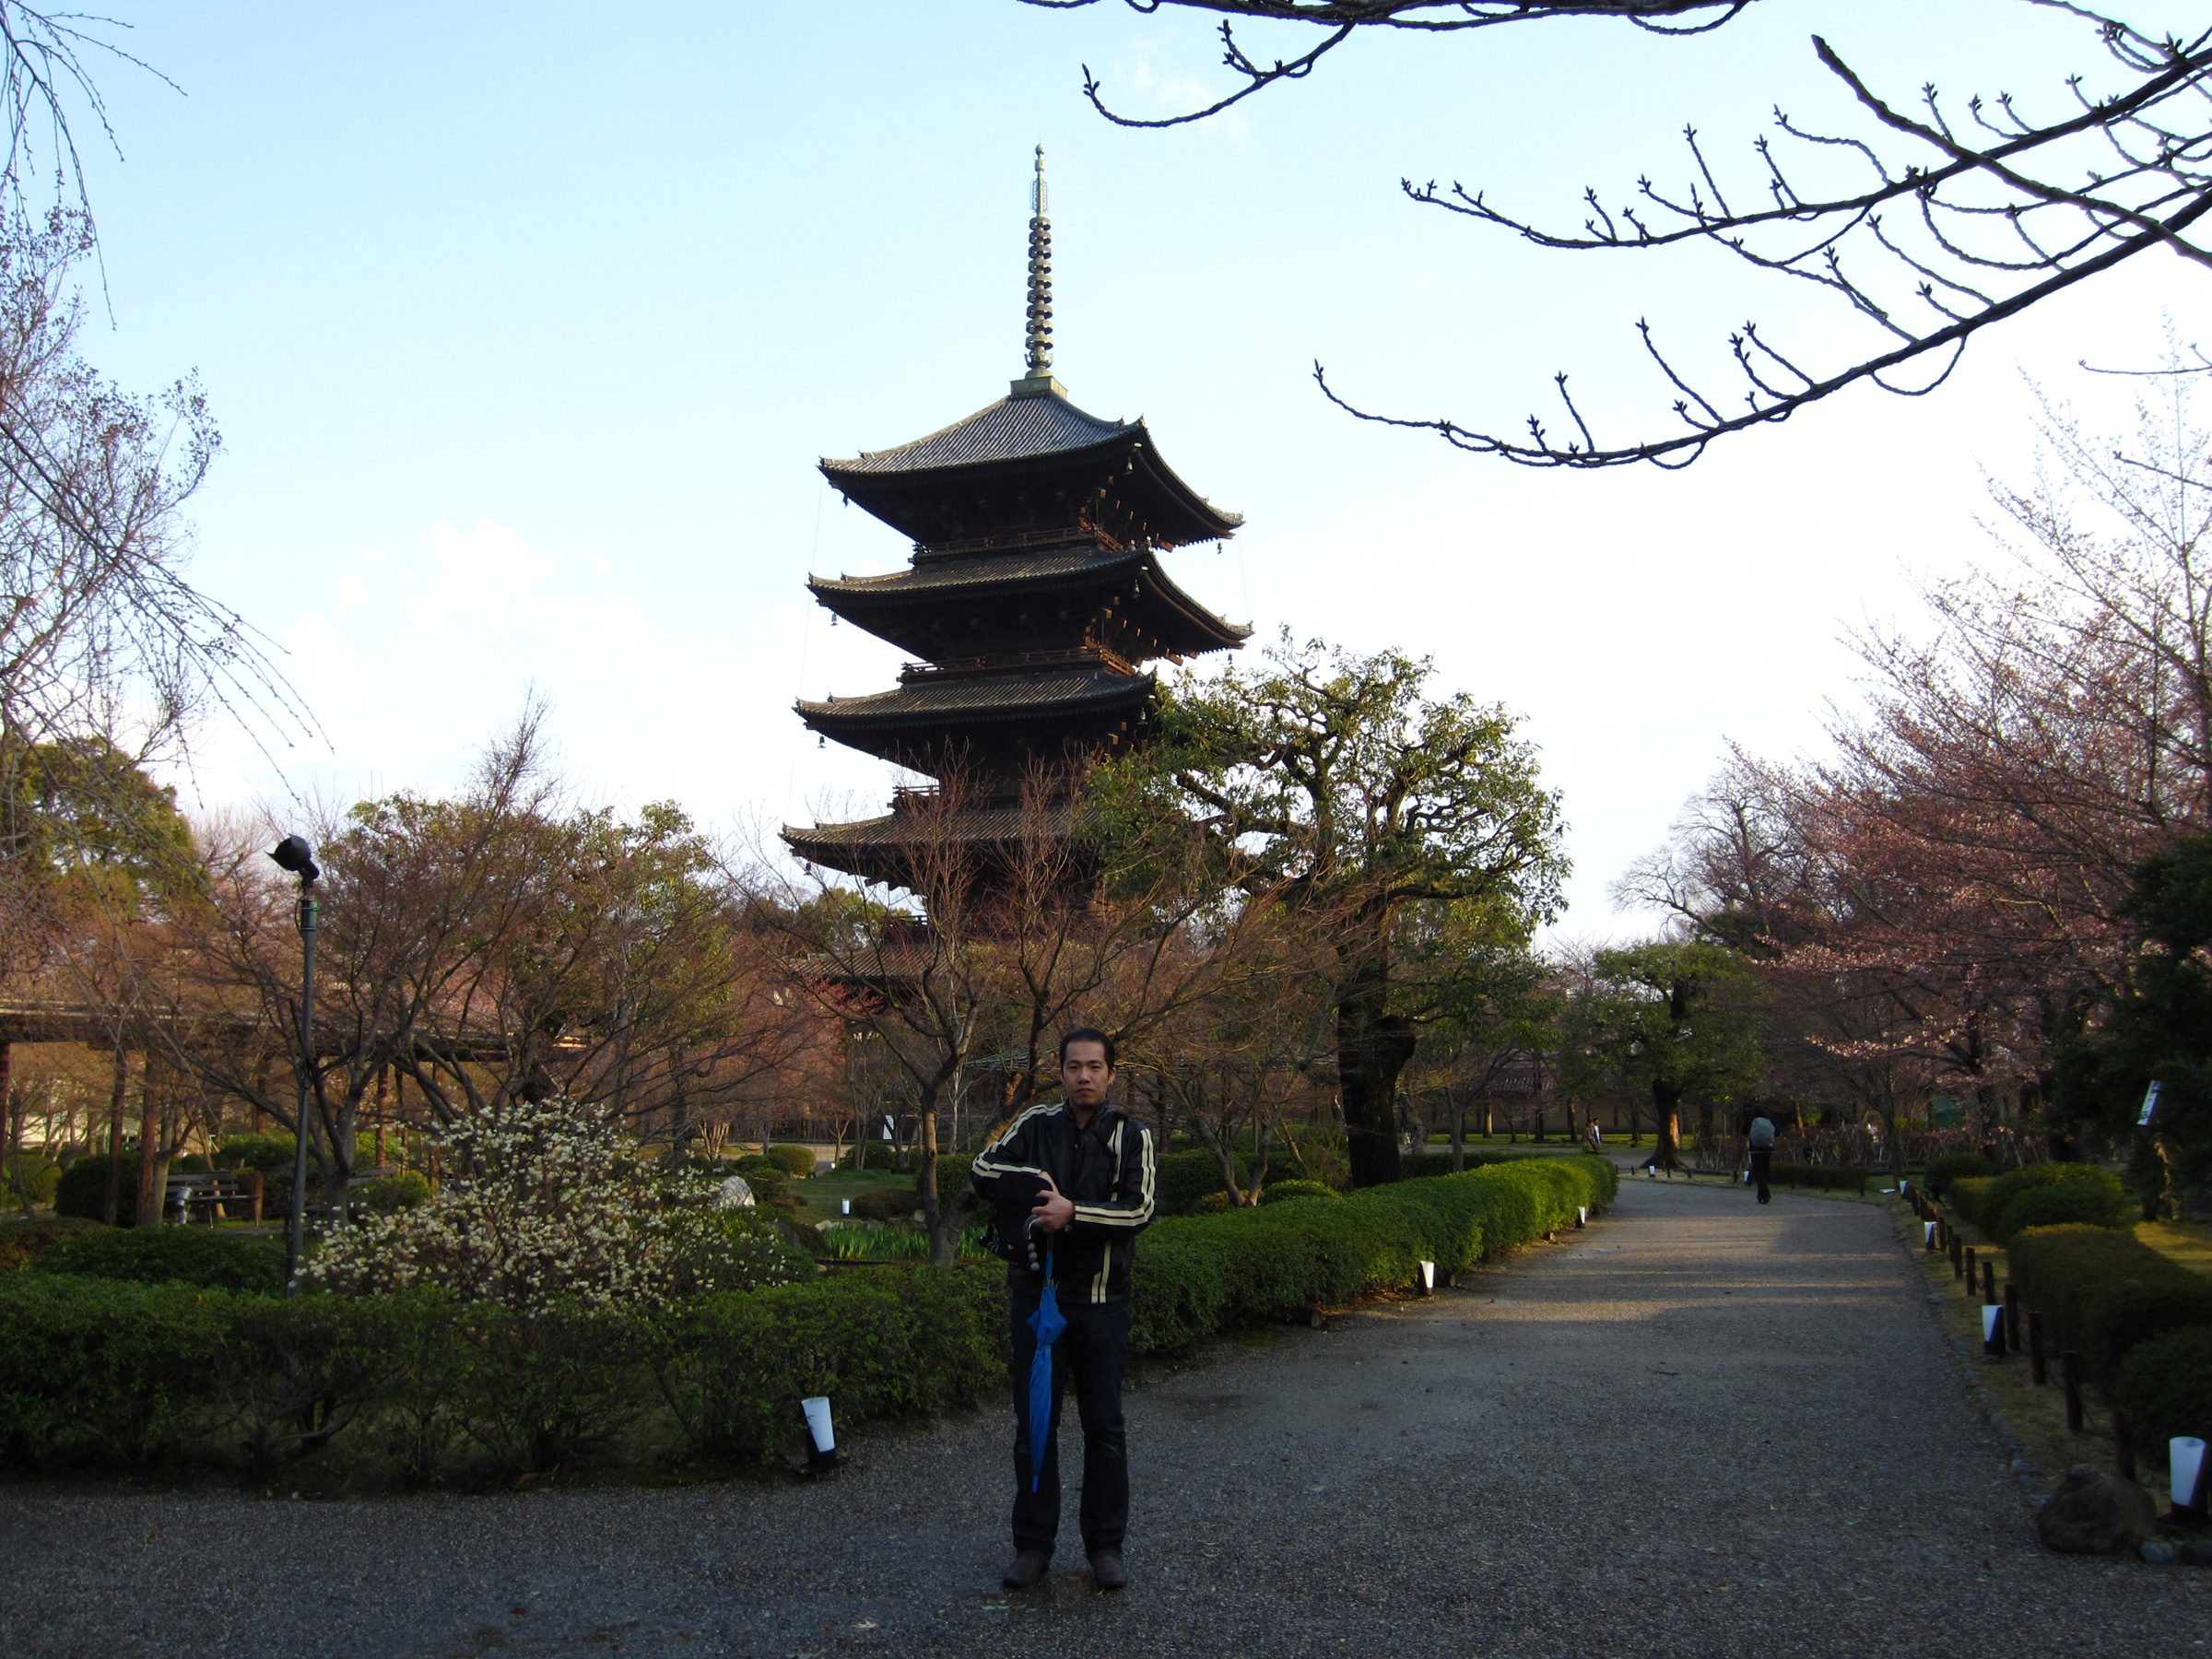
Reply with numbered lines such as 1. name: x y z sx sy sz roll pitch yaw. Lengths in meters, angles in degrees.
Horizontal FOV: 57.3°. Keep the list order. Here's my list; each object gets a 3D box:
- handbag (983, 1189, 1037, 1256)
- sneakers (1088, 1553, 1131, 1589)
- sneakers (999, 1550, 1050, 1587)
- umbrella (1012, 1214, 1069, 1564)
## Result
1. handbag: -0.485 1.986 10.048 0.281 0.381 0.335 0 -3 -3
2. sneakers: 0.006 3.569 9.744 0.188 0.183 0.205 -1 -16 -1
3. sneakers: -0.363 3.586 9.771 0.297 0.161 0.245 7 -18 -29
4. umbrella: -0.322 2.807 9.865 0.257 1.556 0.440 0 -14 -5
